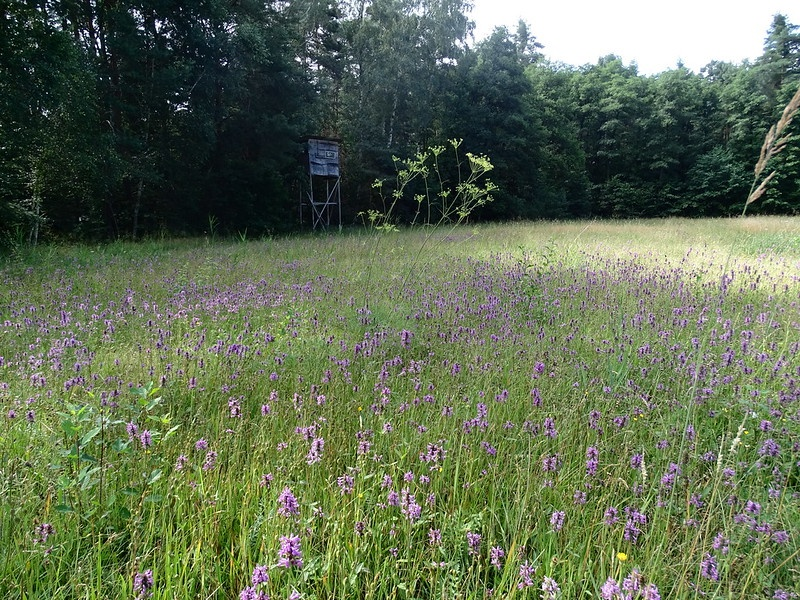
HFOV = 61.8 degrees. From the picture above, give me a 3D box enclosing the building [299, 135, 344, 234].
[{"bbox_3d":[-3.983,-5.977,34.980,2.113,5.523,2.252,16,25,28],"label":"building"}]
